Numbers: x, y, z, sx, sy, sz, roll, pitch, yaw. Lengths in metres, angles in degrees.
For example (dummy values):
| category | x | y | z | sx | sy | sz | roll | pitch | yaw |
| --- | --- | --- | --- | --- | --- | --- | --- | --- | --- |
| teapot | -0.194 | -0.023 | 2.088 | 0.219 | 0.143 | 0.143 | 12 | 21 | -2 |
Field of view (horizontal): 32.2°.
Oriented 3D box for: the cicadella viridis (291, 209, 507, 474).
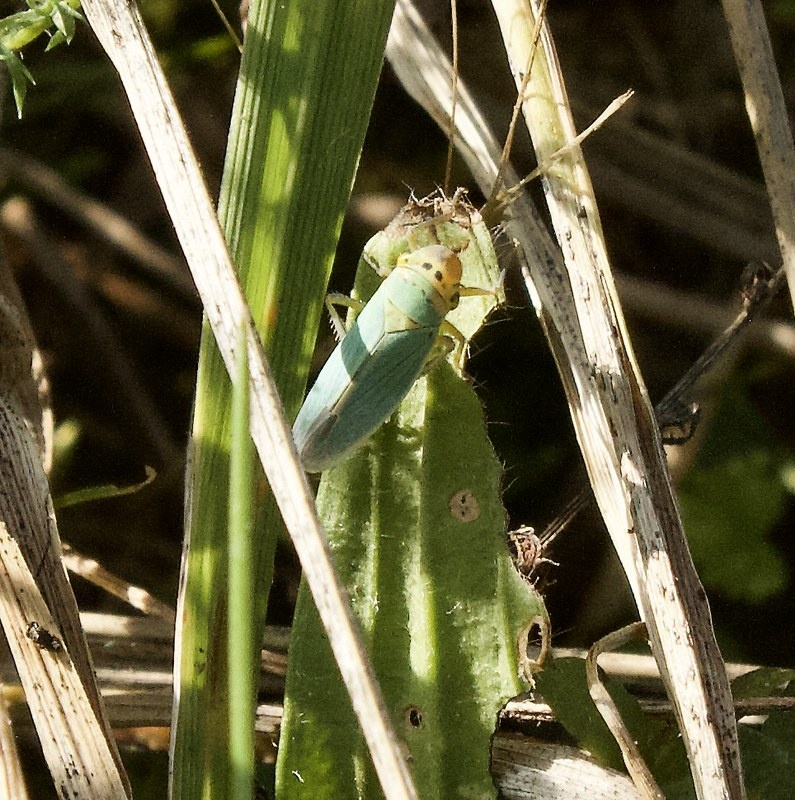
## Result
| category | x | y | z | sx | sy | sz | roll | pitch | yaw |
| --- | --- | --- | --- | --- | --- | --- | --- | --- | --- |
| cicadella viridis | 0.001 | -0.083 | 2.840 | 0.303 | 0.534 | 0.170 | 32 | -9 | 10 |
